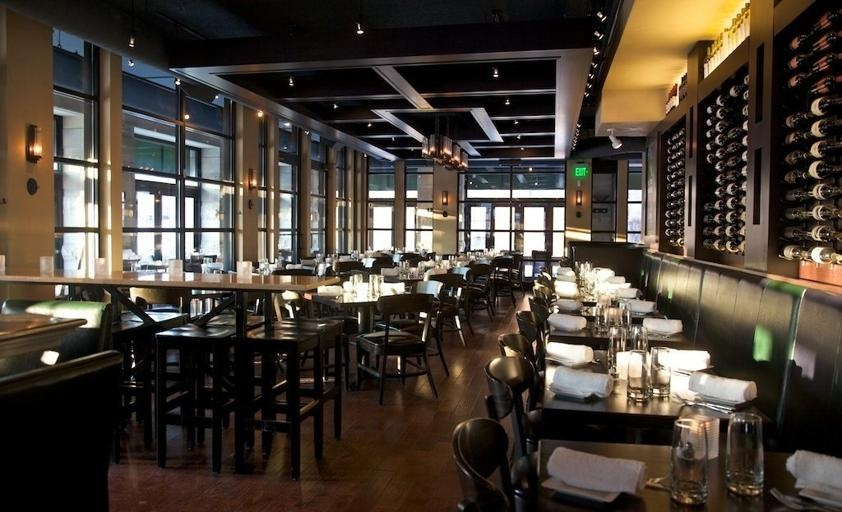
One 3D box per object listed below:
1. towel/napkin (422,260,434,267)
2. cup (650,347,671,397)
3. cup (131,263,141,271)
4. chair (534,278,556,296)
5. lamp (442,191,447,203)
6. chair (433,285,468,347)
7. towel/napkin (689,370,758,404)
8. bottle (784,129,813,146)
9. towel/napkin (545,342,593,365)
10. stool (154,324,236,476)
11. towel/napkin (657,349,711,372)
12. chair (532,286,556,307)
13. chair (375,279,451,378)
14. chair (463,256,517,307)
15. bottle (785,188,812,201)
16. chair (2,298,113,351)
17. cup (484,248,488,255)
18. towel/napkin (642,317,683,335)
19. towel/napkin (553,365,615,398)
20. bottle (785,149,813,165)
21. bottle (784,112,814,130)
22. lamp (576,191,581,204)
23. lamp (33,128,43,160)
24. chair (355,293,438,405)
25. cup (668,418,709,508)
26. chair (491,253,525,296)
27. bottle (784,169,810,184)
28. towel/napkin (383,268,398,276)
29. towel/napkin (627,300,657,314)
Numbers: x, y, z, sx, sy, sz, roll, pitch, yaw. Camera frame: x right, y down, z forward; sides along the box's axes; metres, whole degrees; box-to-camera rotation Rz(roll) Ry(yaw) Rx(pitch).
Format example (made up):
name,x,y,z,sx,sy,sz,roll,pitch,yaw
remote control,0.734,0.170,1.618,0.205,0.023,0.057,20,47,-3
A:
name,x,y,z,sx,sy,sz,roll,pitch,yaw
towel/napkin,0.132,0.146,10.873,0.125,0.058,0.153,2,7,18
cup,1.718,0.853,4.515,0.144,0.314,0.143,6,-8,1
cup,-4.379,0.165,9.556,0.077,0.127,0.295,-2,12,-10
chair,1.524,0.408,7.615,0.280,0.272,0.236,0,4,-8
lamp,0.678,-1.603,17.410,0.147,0.372,0.039,2,13,11
chair,0.366,0.881,9.545,0.696,0.797,0.653,1,0,18
towel/napkin,2.198,0.960,4.531,0.437,0.150,0.427,3,-2,14
bottle,3.439,-1.074,5.670,0.205,0.136,0.276,7,14,28
towel/napkin,1.200,0.784,5.006,0.222,0.077,0.224,3,5,41
stool,-2.311,1.380,5.900,0.732,1.119,0.760,-6,-13,44
towel/napkin,2.065,0.807,4.841,0.330,0.077,0.330,1,-1,23
chair,1.449,0.457,7.315,0.280,0.359,0.313,-1,2,13
chair,0.039,0.881,8.288,1.182,1.655,1.094,1,-3,-7
chair,1.563,0.589,13.221,0.803,0.909,0.700,-13,7,-37
bottle,3.494,-0.554,5.737,0.215,0.118,0.212,0,12,0
chair,-2.857,0.557,4.928,0.409,0.383,0.691,-3,-5,-40
cup,1.726,-0.132,16.308,0.125,0.117,0.222,-5,-6,3
towel/napkin,2.245,0.642,5.803,0.288,0.095,0.286,0,0,14
towel/napkin,1.160,0.888,4.502,0.265,0.100,0.263,0,1,30
bottle,3.489,-0.894,5.700,0.241,0.148,0.252,0,12,0
bottle,3.434,-1.217,5.627,0.148,0.139,0.437,14,18,14
lamp,4.246,-1.539,16.687,0.143,0.347,0.078,3,13,13
lamp,-4.805,-1.391,7.795,0.071,0.415,0.225,-2,13,-10
chair,-0.304,1.028,7.418,0.963,1.145,0.956,1,3,-5
cup,1.565,1.169,3.568,0.240,0.493,0.156,2,13,9
chair,1.976,0.412,14.322,1.055,1.177,0.894,1,6,10
bottle,3.462,-0.729,5.728,0.191,0.111,0.146,5,13,22
towel/napkin,-0.469,0.252,9.549,0.173,0.073,0.117,0,-4,-11
towel/napkin,2.383,0.544,6.704,0.287,0.098,0.287,3,5,33
